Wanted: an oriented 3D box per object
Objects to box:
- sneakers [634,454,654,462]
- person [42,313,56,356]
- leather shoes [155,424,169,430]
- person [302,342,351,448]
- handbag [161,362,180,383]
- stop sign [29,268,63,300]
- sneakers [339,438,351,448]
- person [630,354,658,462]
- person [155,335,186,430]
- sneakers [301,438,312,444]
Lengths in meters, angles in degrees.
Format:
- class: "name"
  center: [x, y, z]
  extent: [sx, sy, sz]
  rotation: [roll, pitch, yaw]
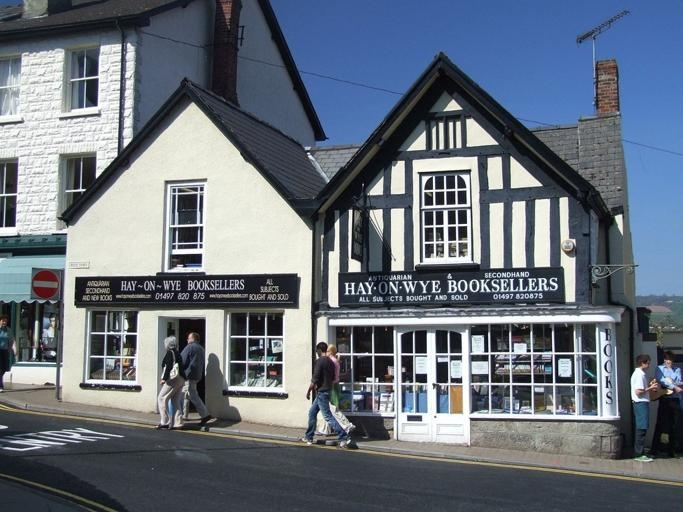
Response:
- class: "sneakers"
  center: [6.630, 4.448, 18.937]
  extent: [0.416, 0.191, 0.149]
  rotation: [-2, -5, 5]
- class: "person"
  center: [-8.747, 2.397, 25.640]
  extent: [0.434, 1.290, 0.213]
  rotation: [-1, -9, 2]
- class: "leather shoes"
  center: [-4.208, 4.014, 20.125]
  extent: [0.287, 0.135, 0.106]
  rotation: [4, -6, -2]
- class: "person"
  center: [-0.437, 3.187, 19.816]
  extent: [0.974, 2.408, 1.021]
  rotation: [3, -10, -20]
- class: "handbag"
  center: [-3.997, 2.725, 20.085]
  extent: [0.387, 0.350, 0.216]
  rotation: [-21, 15, -18]
- class: "stop sign"
  center: [-7.637, 0.725, 22.135]
  extent: [0.180, 0.821, 0.826]
  rotation: [-1, -4, 32]
- class: "sneakers"
  center: [0.070, 4.240, 19.437]
  extent: [0.257, 0.192, 0.172]
  rotation: [-1, -10, 0]
- class: "person"
  center: [6.867, 3.438, 19.470]
  extent: [0.573, 2.335, 1.218]
  rotation: [-4, -10, 19]
- class: "person"
  center: [-4.012, 2.963, 20.222]
  extent: [0.550, 2.154, 0.536]
  rotation: [4, -10, -23]
- class: "sneakers"
  center: [-0.800, 4.210, 19.503]
  extent: [0.241, 0.115, 0.094]
  rotation: [9, 2, 27]
